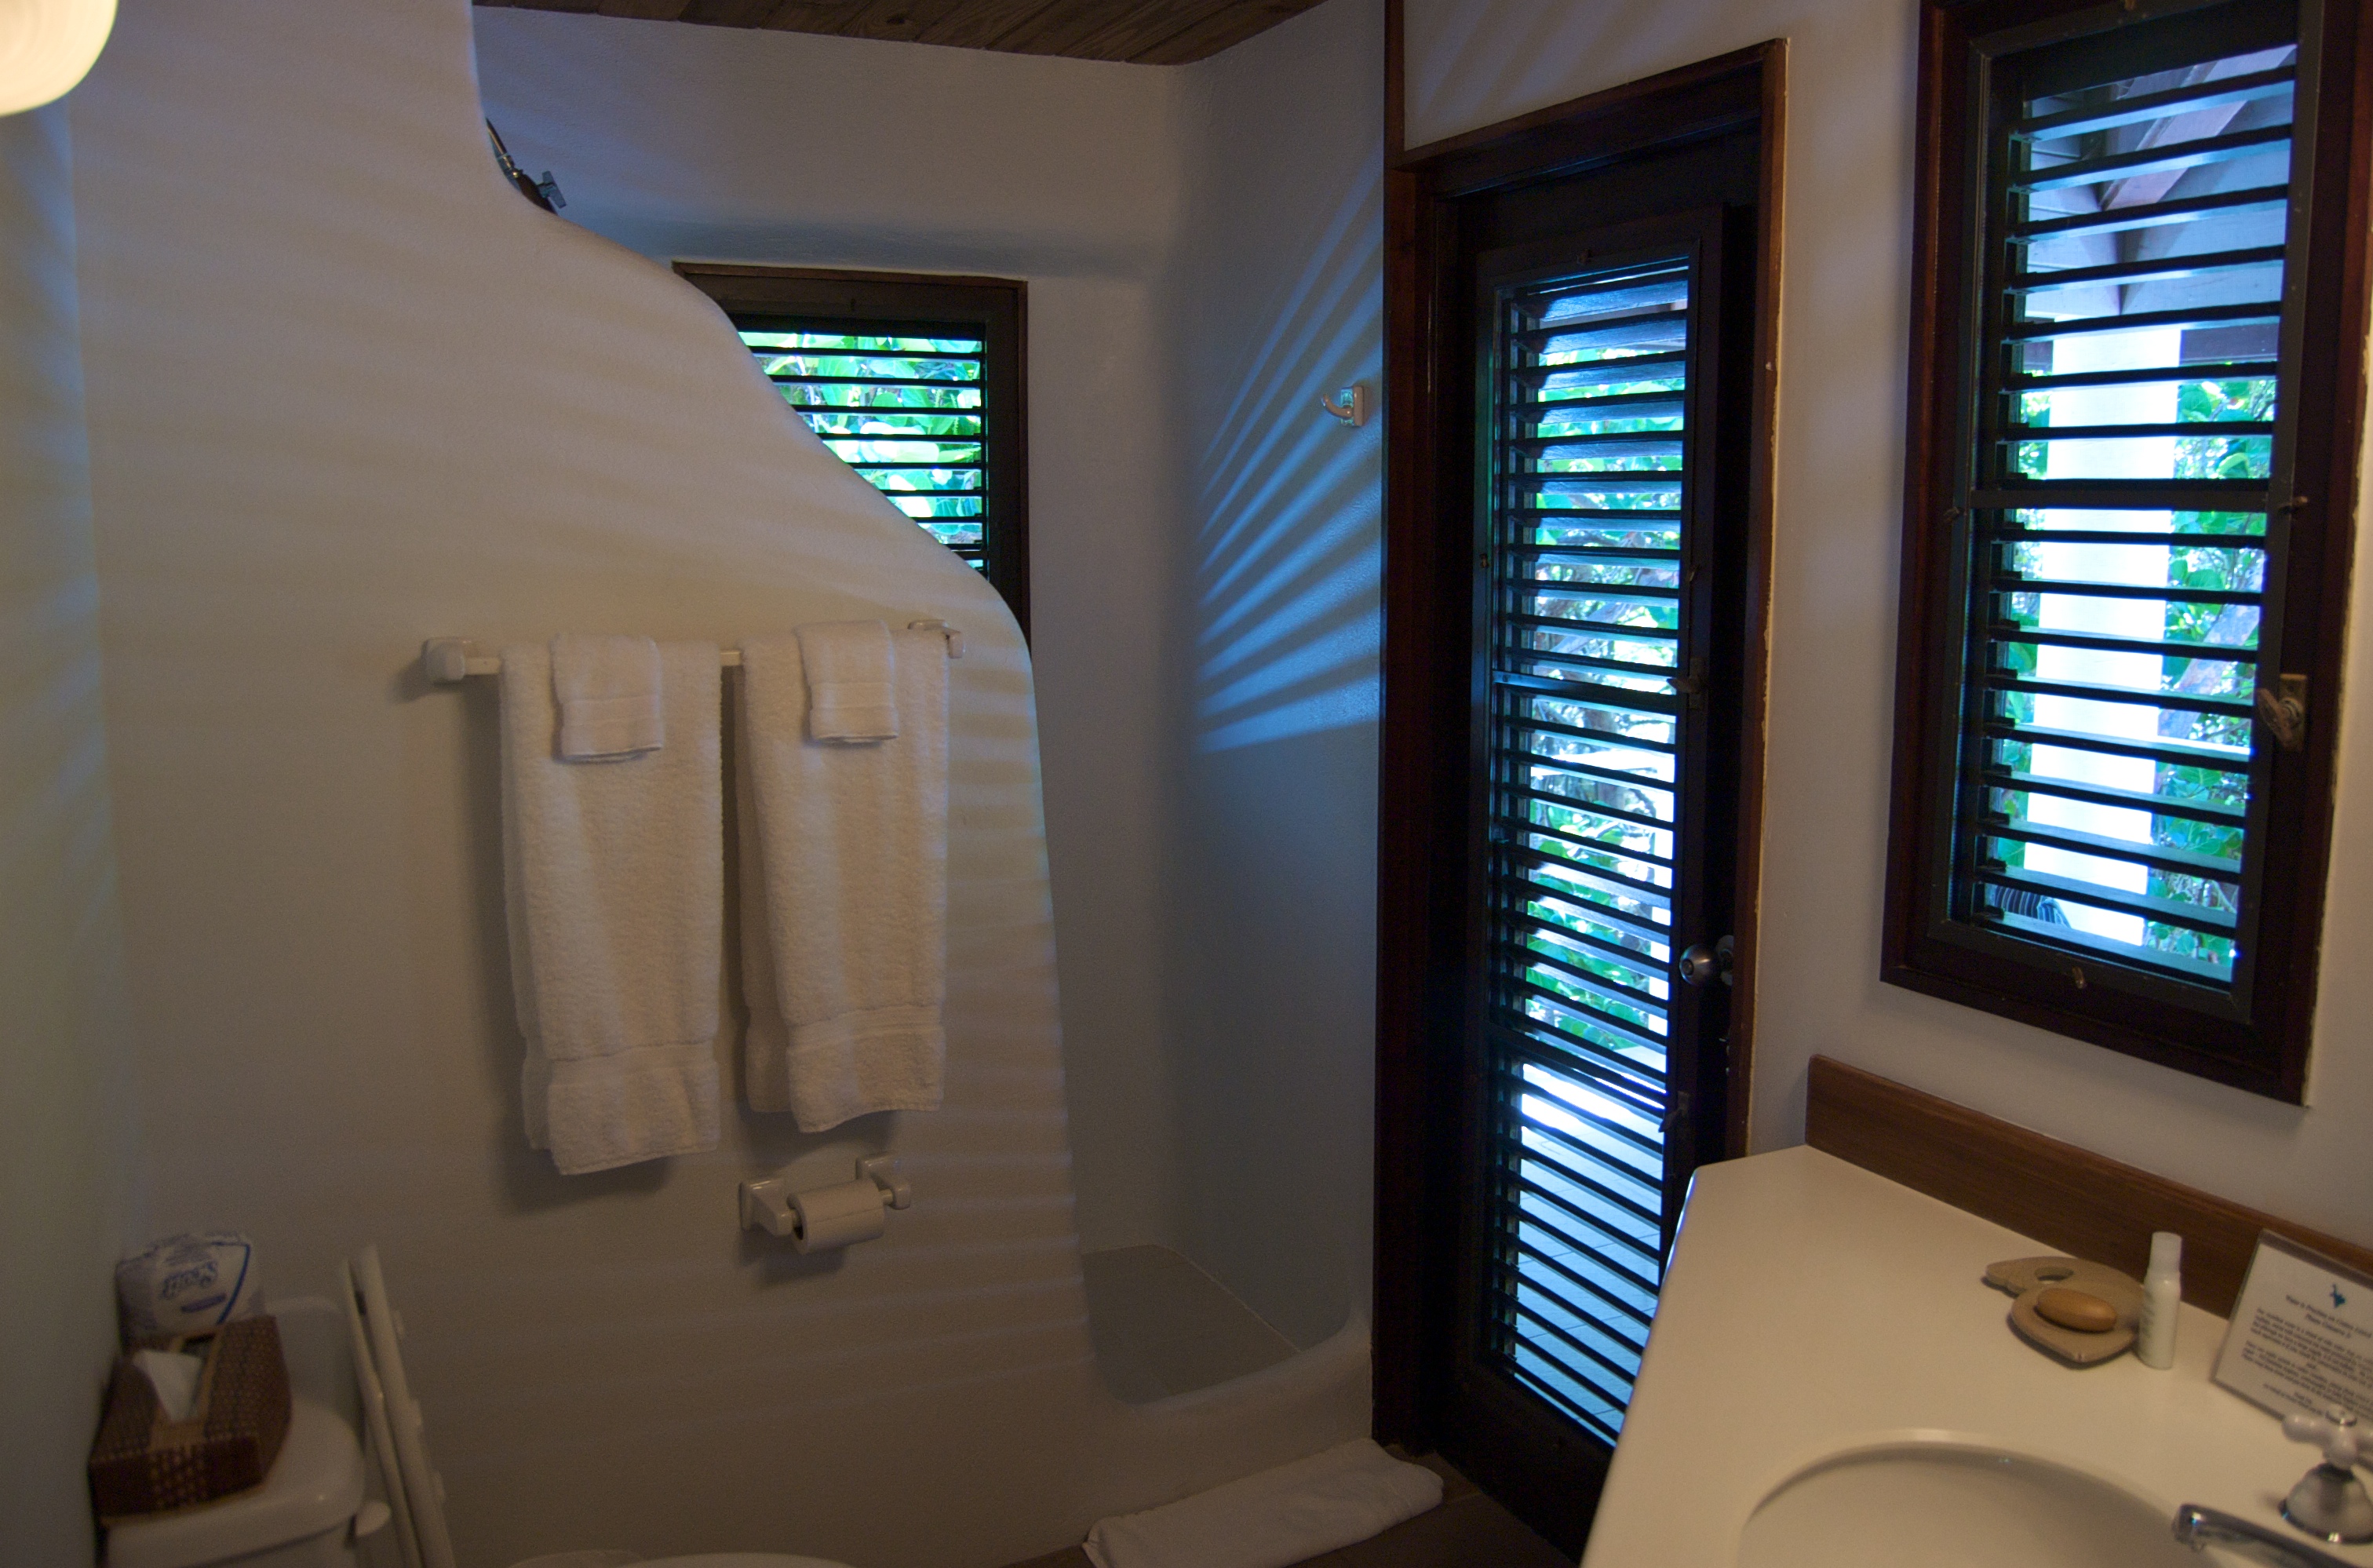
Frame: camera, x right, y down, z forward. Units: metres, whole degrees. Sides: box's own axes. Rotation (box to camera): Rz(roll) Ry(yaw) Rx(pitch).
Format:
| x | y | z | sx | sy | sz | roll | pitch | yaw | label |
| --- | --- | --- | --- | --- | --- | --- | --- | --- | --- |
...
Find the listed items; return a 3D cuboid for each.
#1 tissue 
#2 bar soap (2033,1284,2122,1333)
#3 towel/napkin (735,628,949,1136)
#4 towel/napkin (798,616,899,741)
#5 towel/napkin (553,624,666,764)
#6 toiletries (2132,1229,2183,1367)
| x | y | z | sx | sy | sz | roll | pitch | yaw | label |
| --- | --- | --- | --- | --- | --- | --- | --- | --- | --- |
| -1.335 | 0.844 | 2.205 | 0.137 | 0.080 | 0.244 | -2 | 5 | -27 | tissue  |
| 1.092 | 0.633 | 2.013 | 0.061 | 0.029 | 0.060 | -5 | 4 | -43 | bar soap |
| -0.557 | 0.147 | 2.731 | 0.378 | 0.822 | 0.099 | -8 | 10 | -29 | towel/napkin |
| -0.515 | -0.165 | 2.591 | 0.171 | 0.170 | 0.062 | -6 | 6 | -22 | towel/napkin |
| -0.884 | -0.134 | 2.524 | 0.170 | 0.180 | 0.042 | -6 | 9 | -18 | towel/napkin |
| 1.180 | 0.616 | 1.995 | 0.042 | 0.158 | 0.103 | 4 | 11 | 38 | toiletries |
